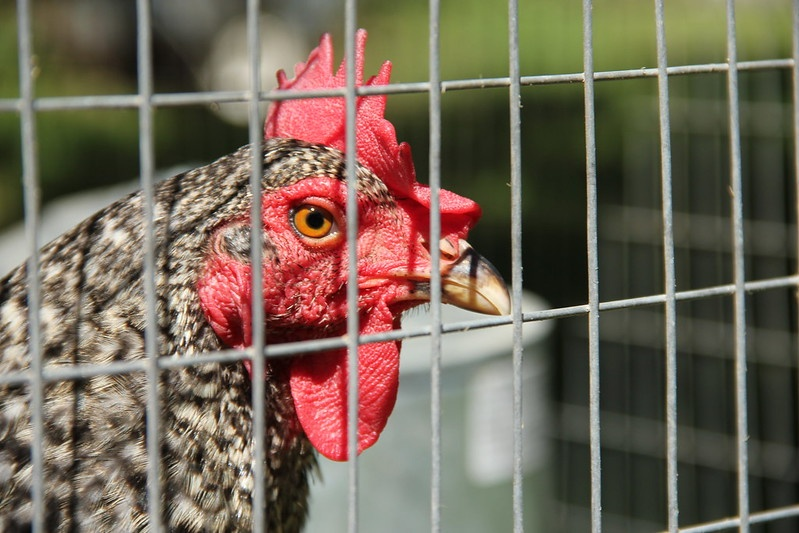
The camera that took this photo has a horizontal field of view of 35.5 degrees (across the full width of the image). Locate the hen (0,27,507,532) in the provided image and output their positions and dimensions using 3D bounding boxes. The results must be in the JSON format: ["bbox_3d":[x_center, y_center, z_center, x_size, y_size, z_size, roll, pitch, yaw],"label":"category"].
[{"bbox_3d":[-0.509,0.015,4.119,1.471,1.710,0.785,-10,-27,19],"label":"hen"}]
